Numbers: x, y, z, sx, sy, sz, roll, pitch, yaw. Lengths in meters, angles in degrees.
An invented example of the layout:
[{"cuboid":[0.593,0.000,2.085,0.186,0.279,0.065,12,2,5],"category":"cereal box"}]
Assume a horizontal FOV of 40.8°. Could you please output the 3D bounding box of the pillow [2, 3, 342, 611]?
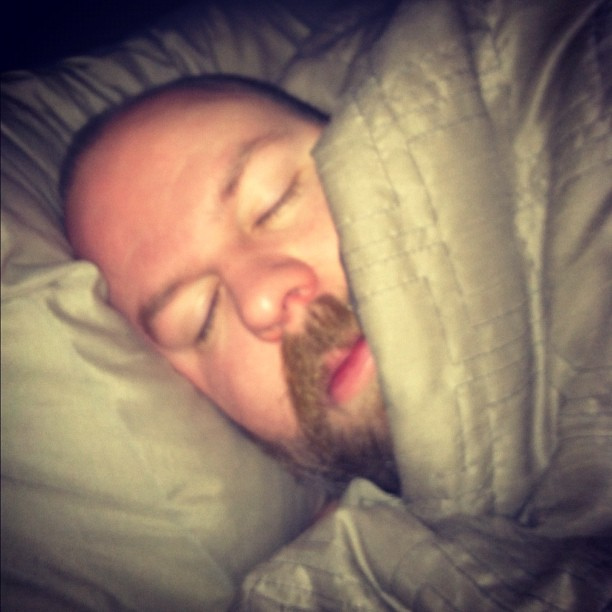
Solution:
[{"cuboid":[-0.182,0.030,0.887,0.341,0.127,0.614,-11,87,-2],"category":"pillow"}]
